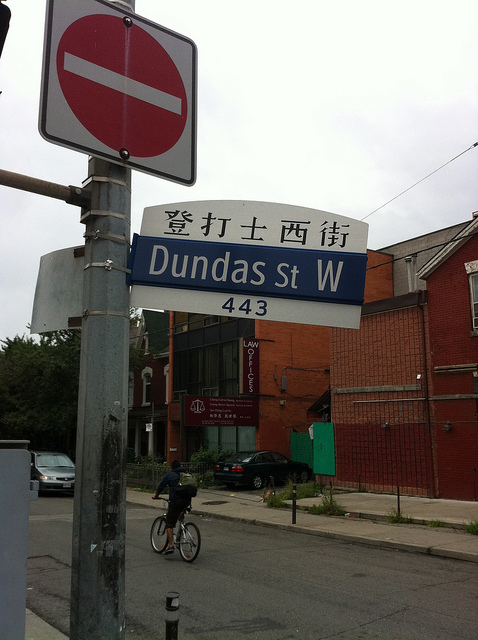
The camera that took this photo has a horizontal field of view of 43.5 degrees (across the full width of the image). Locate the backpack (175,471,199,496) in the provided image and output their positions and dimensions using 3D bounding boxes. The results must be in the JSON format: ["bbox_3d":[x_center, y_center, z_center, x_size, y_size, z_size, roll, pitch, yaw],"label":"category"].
[{"bbox_3d":[-0.898,2.967,10.612,0.322,0.486,0.479,9,-38,-19],"label":"backpack"}]

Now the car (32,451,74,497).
[{"bbox_3d":[-6.577,5.443,21.005,1.412,1.488,2.727,4,-12,-19],"label":"car"}]

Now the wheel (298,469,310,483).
[{"bbox_3d":[2.463,6.070,23.228,0.125,0.439,0.418,8,-29,29],"label":"wheel"}]

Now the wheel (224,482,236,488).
[{"bbox_3d":[-0.370,6.148,22.261,0.368,0.249,1.164,0,-11,0],"label":"wheel"}]

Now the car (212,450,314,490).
[{"bbox_3d":[0.915,5.532,22.553,3.499,1.341,1.596,2,-8,-35],"label":"car"}]

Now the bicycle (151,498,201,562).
[{"bbox_3d":[-1.089,3.528,10.118,1.309,0.944,0.666,-8,-17,42],"label":"bicycle"}]

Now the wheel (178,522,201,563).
[{"bbox_3d":[-0.786,3.621,9.654,0.282,0.737,0.245,4,-20,24],"label":"wheel"}]

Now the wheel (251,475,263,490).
[{"bbox_3d":[0.639,5.887,21.752,0.137,0.495,0.452,4,-18,29],"label":"wheel"}]
